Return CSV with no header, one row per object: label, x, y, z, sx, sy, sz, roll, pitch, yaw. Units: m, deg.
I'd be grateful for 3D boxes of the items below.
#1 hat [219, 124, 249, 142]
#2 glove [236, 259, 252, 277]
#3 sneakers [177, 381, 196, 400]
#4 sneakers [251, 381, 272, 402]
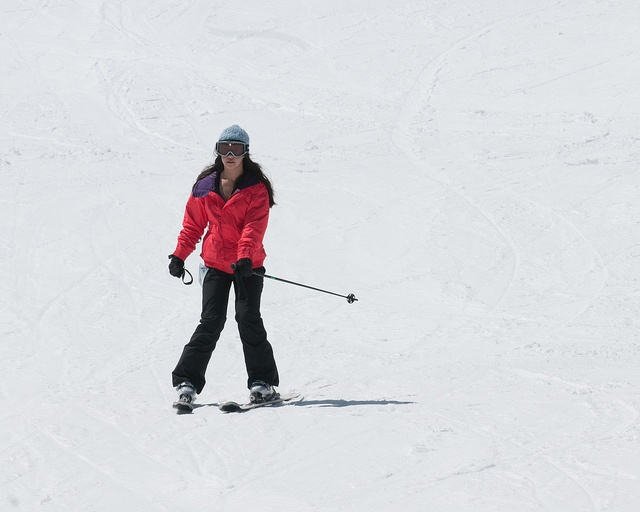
hat,-0.834,-1.207,8.673,0.247,0.126,0.238,8,16,7
glove,-0.721,0.116,8.380,0.228,0.147,0.186,-2,7,4
sneakers,-1.315,1.333,8.618,0.202,0.199,0.145,5,81,-19
sneakers,-0.573,1.353,8.722,0.214,0.236,0.147,-2,72,7
